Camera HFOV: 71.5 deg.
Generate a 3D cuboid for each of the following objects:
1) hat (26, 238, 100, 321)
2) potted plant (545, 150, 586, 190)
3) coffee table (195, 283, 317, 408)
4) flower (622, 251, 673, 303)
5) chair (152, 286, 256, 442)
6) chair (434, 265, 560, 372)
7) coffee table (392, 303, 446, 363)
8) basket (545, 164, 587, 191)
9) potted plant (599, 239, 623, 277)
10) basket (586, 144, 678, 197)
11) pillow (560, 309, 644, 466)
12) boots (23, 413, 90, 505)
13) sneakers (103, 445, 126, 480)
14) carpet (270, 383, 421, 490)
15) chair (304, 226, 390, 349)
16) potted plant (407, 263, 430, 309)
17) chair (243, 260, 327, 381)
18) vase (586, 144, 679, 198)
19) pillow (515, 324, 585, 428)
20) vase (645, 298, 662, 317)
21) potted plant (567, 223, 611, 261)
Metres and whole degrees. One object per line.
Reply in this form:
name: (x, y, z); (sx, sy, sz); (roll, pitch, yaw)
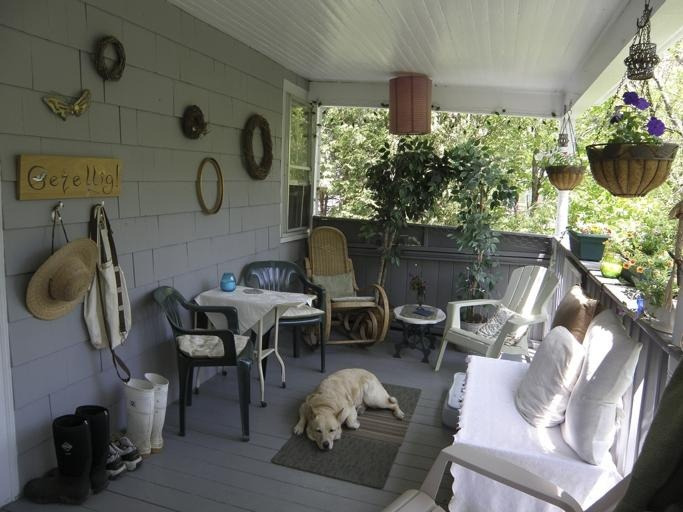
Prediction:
hat: (-1.729, 0.156, 2.992); (0.185, 0.497, 0.468); (7, 13, 25)
potted plant: (1.839, -0.629, 3.838); (0.260, 0.240, 0.270); (7, 6, 40)
coffee table: (-0.756, 0.631, 4.423); (1.041, 1.048, 0.925); (2, 5, 20)
flower: (1.653, 0.118, 2.515); (0.261, 0.306, 0.129); (-1, -21, 27)
chair: (-1.069, 0.819, 3.845); (0.775, 1.112, 0.777); (6, 9, 8)
chair: (1.578, 0.657, 4.715); (1.061, 1.111, 0.904); (-4, 9, -29)
coffee table: (0.830, 0.877, 5.354); (0.549, 0.516, 0.631); (6, 9, 16)
basket: (1.803, -0.631, 3.797); (0.220, 0.176, 0.227); (1, 0, -28)
potted plant: (1.885, 0.021, 3.258); (0.140, 0.255, 0.139); (-9, 15, -42)
basket: (1.303, -0.388, 2.090); (0.266, 0.200, 0.284); (1, 0, -10)
pillow: (1.450, 0.725, 2.638); (0.328, 0.684, 0.504); (9, 14, 34)
boots: (-1.746, 1.253, 2.900); (0.362, 0.498, 0.263); (6, 12, 22)
sneakers: (-1.502, 1.361, 3.129); (0.222, 0.123, 0.090); (8, 9, 41)
carpet: (0.085, 1.372, 3.748); (0.845, 0.027, 1.234); (6, 13, 19)
chair: (-0.013, 0.309, 5.475); (0.670, 1.462, 1.063); (0, -4, -18)
potted plant: (0.951, 0.349, 5.513); (0.181, 0.559, 0.266); (-3, -1, -23)
chair: (-0.572, 0.606, 4.815); (0.829, 1.130, 0.884); (0, 3, 24)
vase: (1.309, -0.393, 2.094); (0.266, 0.200, 0.284); (1, 0, -10)
pillow: (1.301, 0.754, 2.922); (0.236, 0.480, 0.459); (4, 10, 4)
vase: (1.575, 0.259, 2.378); (0.033, 0.089, 0.117); (4, 12, 12)
potted plant: (2.081, -0.124, 3.961); (0.241, 0.228, 0.345); (1, 2, -1)
